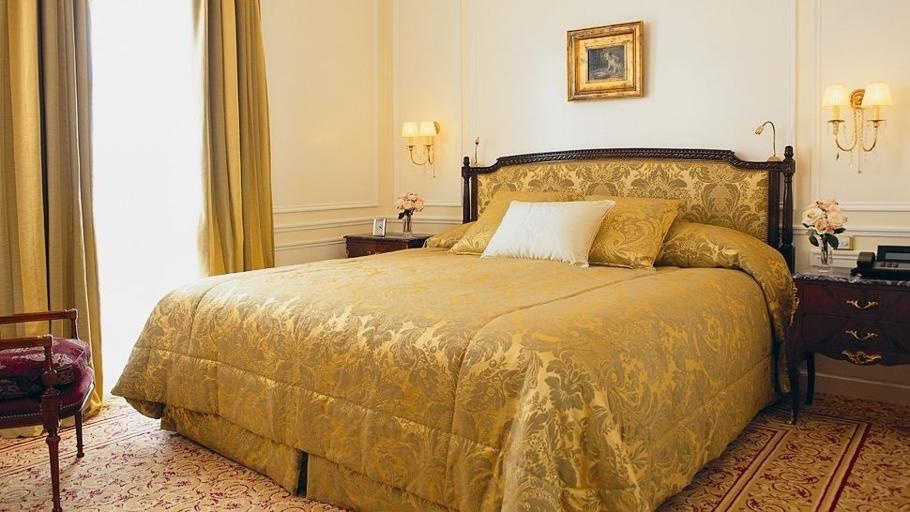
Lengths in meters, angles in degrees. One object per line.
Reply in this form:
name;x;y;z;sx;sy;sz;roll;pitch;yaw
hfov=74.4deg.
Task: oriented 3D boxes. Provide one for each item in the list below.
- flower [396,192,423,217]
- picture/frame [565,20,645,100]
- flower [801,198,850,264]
flower;-0.529;-0.578;7.094;0.313;0.289;0.302;-9;-6;-4
picture/frame;1.616;-2.062;6.286;0.957;0.801;0.074;1;2;27
flower;3.291;-0.231;5.351;0.302;0.579;0.502;6;15;31
